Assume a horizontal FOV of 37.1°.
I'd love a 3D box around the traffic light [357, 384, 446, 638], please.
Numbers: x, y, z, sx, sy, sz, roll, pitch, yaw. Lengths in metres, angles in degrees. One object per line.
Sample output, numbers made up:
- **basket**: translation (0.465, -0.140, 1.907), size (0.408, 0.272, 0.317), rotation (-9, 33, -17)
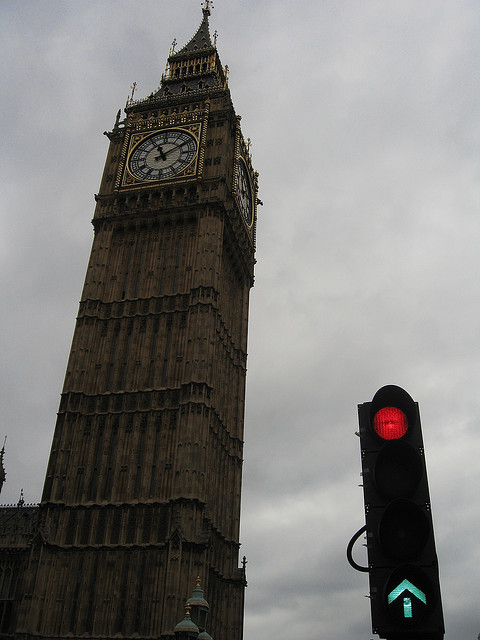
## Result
- **traffic light**: translation (2.356, 3.053, 10.426), size (1.204, 4.717, 0.934), rotation (-7, -43, 9)
